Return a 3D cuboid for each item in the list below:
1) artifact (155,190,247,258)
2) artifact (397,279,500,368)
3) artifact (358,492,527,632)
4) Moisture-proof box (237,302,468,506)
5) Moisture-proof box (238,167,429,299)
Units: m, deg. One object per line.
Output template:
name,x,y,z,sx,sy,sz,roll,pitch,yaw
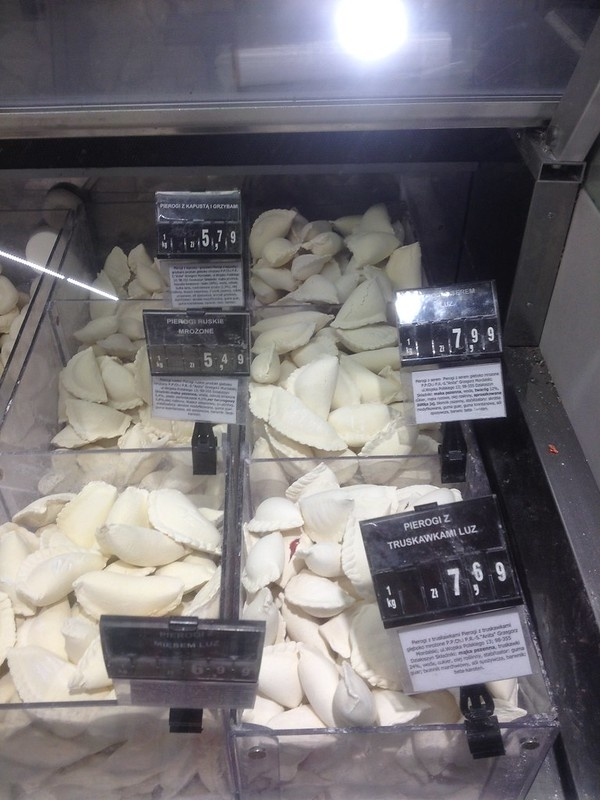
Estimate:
artifact,-0.152,-0.266,1.008,0.176,0.095,0.127,0,90,0
artifact,0.214,-0.114,0.938,0.147,0.098,0.084,1,48,-4
artifact,0.164,0.193,0.758,0.160,0.082,0.114,-6,49,-10
Moisture-proof box,0.070,-0.011,1.092,0.312,0.116,0.338,-1,60,1
Moisture-proof box,0.053,-0.334,1.515,0.331,0.101,0.332,0,49,0
